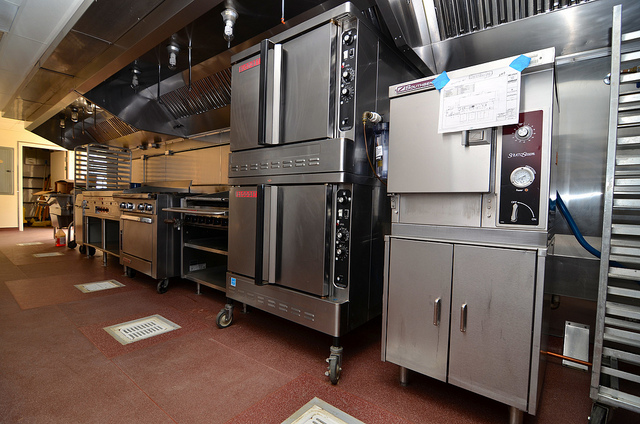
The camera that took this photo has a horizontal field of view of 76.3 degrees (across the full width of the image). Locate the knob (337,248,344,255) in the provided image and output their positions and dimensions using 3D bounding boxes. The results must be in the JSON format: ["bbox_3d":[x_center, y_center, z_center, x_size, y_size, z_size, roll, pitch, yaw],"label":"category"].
[{"bbox_3d":[0.167,0.328,3.378,0.072,0.064,0.040,-1,-5,27],"label":"knob"}]

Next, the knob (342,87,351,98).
[{"bbox_3d":[0.216,-0.990,3.368,0.067,0.082,0.027,2,7,4],"label":"knob"}]

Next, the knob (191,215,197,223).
[{"bbox_3d":[-1.398,0.077,4.537,0.069,0.101,0.054,4,7,28],"label":"knob"}]

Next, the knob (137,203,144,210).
[{"bbox_3d":[-2.099,-0.061,4.795,0.085,0.078,0.060,9,-8,-36],"label":"knob"}]

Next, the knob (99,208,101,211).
[{"bbox_3d":[-3.063,-0.028,5.716,0.014,0.026,0.014,1,-2,31],"label":"knob"}]

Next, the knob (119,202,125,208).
[{"bbox_3d":[-2.468,-0.081,5.122,0.064,0.095,0.065,-2,-5,38],"label":"knob"}]

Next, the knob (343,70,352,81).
[{"bbox_3d":[0.223,-1.127,3.355,0.082,0.085,0.045,3,2,44],"label":"knob"}]

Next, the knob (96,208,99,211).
[{"bbox_3d":[-3.134,-0.032,5.778,0.020,0.035,0.024,9,15,30],"label":"knob"}]

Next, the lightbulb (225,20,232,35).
[{"bbox_3d":[-0.865,-1.753,3.867,0.064,0.137,0.079,0,7,-14],"label":"lightbulb"}]

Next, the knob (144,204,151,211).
[{"bbox_3d":[-1.984,-0.047,4.712,0.057,0.082,0.029,5,-5,4],"label":"knob"}]

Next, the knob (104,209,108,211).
[{"bbox_3d":[-2.915,-0.029,5.574,0.033,0.024,0.018,0,-1,24],"label":"knob"}]

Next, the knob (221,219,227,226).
[{"bbox_3d":[-0.974,0.108,4.140,0.059,0.086,0.056,0,-3,31],"label":"knob"}]

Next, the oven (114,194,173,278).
[{"bbox_3d":[-2.036,0.232,5.039,0.747,0.873,0.607,6,5,38],"label":"oven"}]

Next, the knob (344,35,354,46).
[{"bbox_3d":[0.236,-1.422,3.353,0.076,0.076,0.023,1,7,-1],"label":"knob"}]
